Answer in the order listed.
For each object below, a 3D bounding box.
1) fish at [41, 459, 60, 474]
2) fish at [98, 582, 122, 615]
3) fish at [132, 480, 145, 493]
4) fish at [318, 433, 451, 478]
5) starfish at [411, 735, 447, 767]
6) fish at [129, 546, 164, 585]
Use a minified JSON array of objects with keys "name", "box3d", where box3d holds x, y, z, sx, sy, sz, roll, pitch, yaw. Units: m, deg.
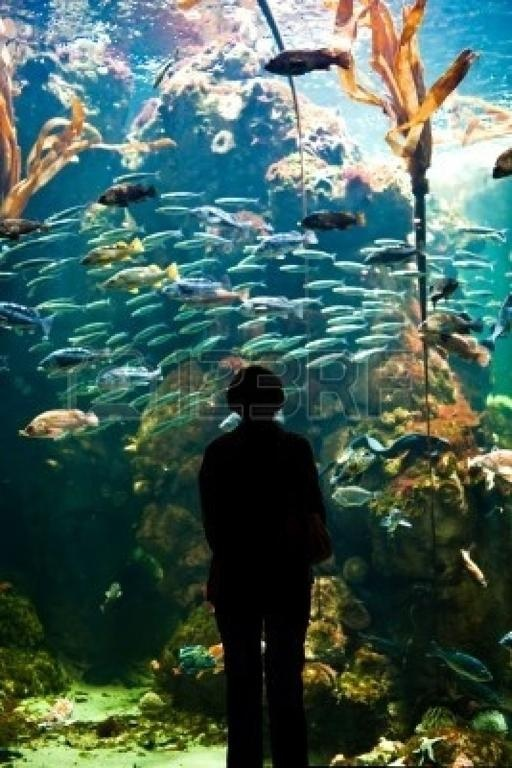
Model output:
[{"name":"fish","box3d":[-2.043,0.805,7.153,0.138,0.123,0.053,-2,2,-21]},{"name":"fish","box3d":[-1.367,2.031,6.760,0.130,0.264,0.110,42,-43,-22]},{"name":"fish","box3d":[-1.177,1.031,7.185,0.136,0.124,0.054,0,2,35]},{"name":"fish","box3d":[1.136,0.626,6.008,0.328,0.451,0.967,-4,3,-44]},{"name":"starfish","box3d":[1.200,2.548,4.965,0.219,0.147,0.167,-1,2,22]},{"name":"fish","box3d":[-1.075,1.788,7.110,0.336,0.294,0.088,-1,2,27]}]
